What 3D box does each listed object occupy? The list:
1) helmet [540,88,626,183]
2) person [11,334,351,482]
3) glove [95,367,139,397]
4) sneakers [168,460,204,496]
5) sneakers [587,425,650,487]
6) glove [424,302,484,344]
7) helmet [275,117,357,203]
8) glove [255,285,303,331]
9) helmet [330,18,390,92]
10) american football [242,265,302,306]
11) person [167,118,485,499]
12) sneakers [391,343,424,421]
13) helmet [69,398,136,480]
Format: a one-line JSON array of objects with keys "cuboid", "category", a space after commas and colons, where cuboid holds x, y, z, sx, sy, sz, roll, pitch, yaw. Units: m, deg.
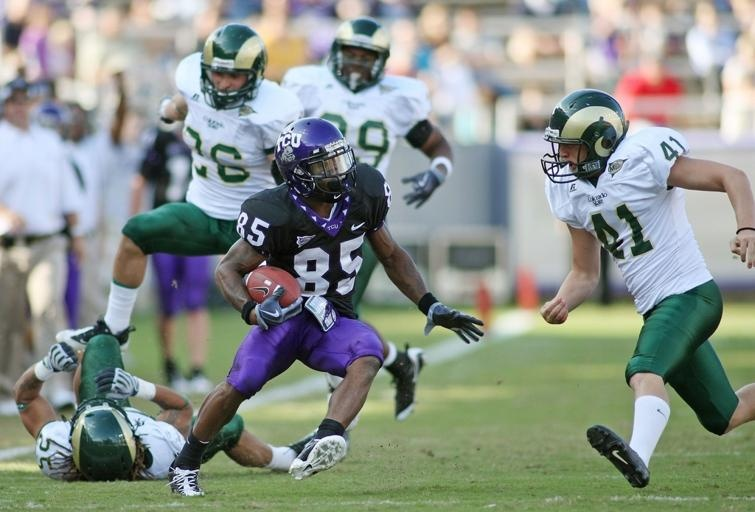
[{"cuboid": [1.147, -0.708, 5.853, 0.551, 0.496, 0.429, -21, 12, -4], "category": "helmet"}, {"cuboid": [-1.302, 0.915, 5.791, 1.278, 0.561, 0.995, 10, -25, -32], "category": "person"}, {"cuboid": [-1.461, 0.718, 5.668, 0.146, 0.178, 0.210, 2, 4, 41], "category": "glove"}, {"cuboid": [-1.014, 1.183, 5.374, 0.184, 0.137, 0.235, -1, 3, -12], "category": "sneakers"}, {"cuboid": [1.278, 1.069, 5.351, 0.359, 0.126, 0.169, 46, 11, 12], "category": "sneakers"}, {"cuboid": [0.431, 0.356, 5.588, 0.287, 0.215, 0.132, 31, 16, 0], "category": "glove"}, {"cuboid": [-0.337, -0.550, 5.496, 0.458, 0.395, 0.360, 25, 36, 36], "category": "helmet"}, {"cuboid": [-0.508, 0.260, 5.322, 0.245, 0.122, 0.177, -34, 65, -17], "category": "glove"}, {"cuboid": [-0.120, -1.414, 7.103, 0.414, 0.496, 0.508, 11, 43, -4], "category": "helmet"}, {"cuboid": [-0.547, 0.146, 5.403, 0.254, 0.161, 0.183, 22, -6, 33], "category": "american football"}, {"cuboid": [-0.331, 0.241, 5.382, 1.498, 1.993, 0.671, -2, 3, -22], "category": "person"}, {"cuboid": [0.226, 0.902, 7.372, 0.181, 0.598, 0.270, 3, -9, 45], "category": "sneakers"}, {"cuboid": [-1.478, 1.015, 5.485, 0.319, 0.434, 0.393, -1, 10, -12], "category": "helmet"}]
